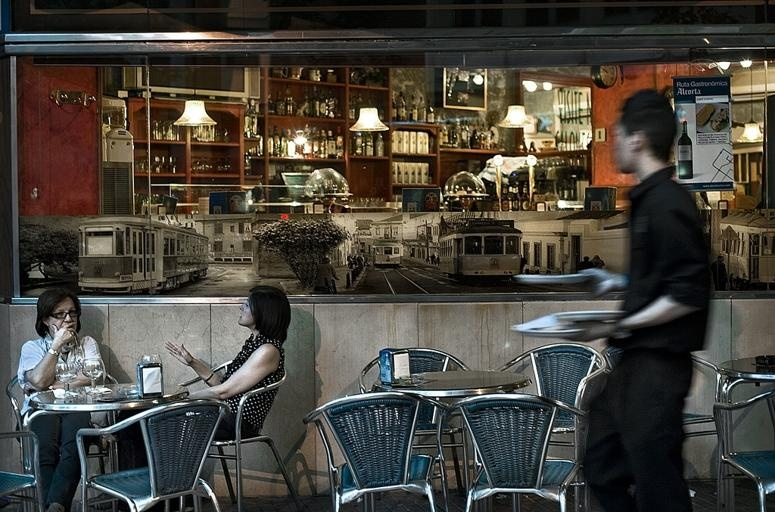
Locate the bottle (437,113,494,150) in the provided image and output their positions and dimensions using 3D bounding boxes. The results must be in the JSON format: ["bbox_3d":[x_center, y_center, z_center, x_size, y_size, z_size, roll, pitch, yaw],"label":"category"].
[{"bbox_3d":[0.716,-1.112,8.703,0.494,0.305,0.064,-2,2,1],"label":"bottle"}]

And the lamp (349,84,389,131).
[{"bbox_3d":[-0.169,-1.345,8.662,0.377,0.366,0.204,1,0,-17],"label":"lamp"}]

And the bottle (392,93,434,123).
[{"bbox_3d":[0.222,-1.336,8.646,0.218,0.206,0.074,1,11,-6],"label":"bottle"}]

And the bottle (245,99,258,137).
[{"bbox_3d":[-1.200,-1.220,8.618,0.125,0.346,0.060,-2,2,-13],"label":"bottle"}]

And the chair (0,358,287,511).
[{"bbox_3d":[-1.608,1.270,6.996,1.233,1.321,1.252,-1,3,-37],"label":"chair"}]

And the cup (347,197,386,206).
[{"bbox_3d":[-0.176,-0.476,8.591,0.314,0.089,0.065,-2,2,1],"label":"cup"}]

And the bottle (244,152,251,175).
[{"bbox_3d":[-1.231,-0.809,8.565,0.063,0.189,0.033,-2,2,-9],"label":"bottle"}]

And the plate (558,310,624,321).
[{"bbox_3d":[1.178,0.352,5.664,0.400,0.056,0.097,-2,2,-12],"label":"plate"}]

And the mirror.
[{"bbox_3d":[1.496,-1.323,8.674,0.698,0.713,0.035,0,2,-4],"label":"mirror"}]

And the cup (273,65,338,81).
[{"bbox_3d":[-0.730,-1.598,8.540,0.583,0.139,0.070,-2,2,-8],"label":"cup"}]

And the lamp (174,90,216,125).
[{"bbox_3d":[-1.708,-1.298,8.557,0.263,0.138,0.270,0,4,21],"label":"lamp"}]

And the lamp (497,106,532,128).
[{"bbox_3d":[1.156,-1.241,8.777,0.221,0.115,0.223,0,-2,-1],"label":"lamp"}]

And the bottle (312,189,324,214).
[{"bbox_3d":[-0.598,-0.477,8.546,0.092,0.209,0.085,-2,2,0],"label":"bottle"}]

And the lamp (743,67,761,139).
[{"bbox_3d":[3.250,-1.360,8.566,0.223,0.682,0.089,-1,2,16],"label":"lamp"}]

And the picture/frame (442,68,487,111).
[{"bbox_3d":[0.683,-1.492,8.603,0.346,0.332,0.023,1,23,-1],"label":"picture/frame"}]

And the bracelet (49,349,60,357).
[{"bbox_3d":[-2.546,0.737,7.402,0.060,0.063,0.040,3,8,-19],"label":"bracelet"}]
